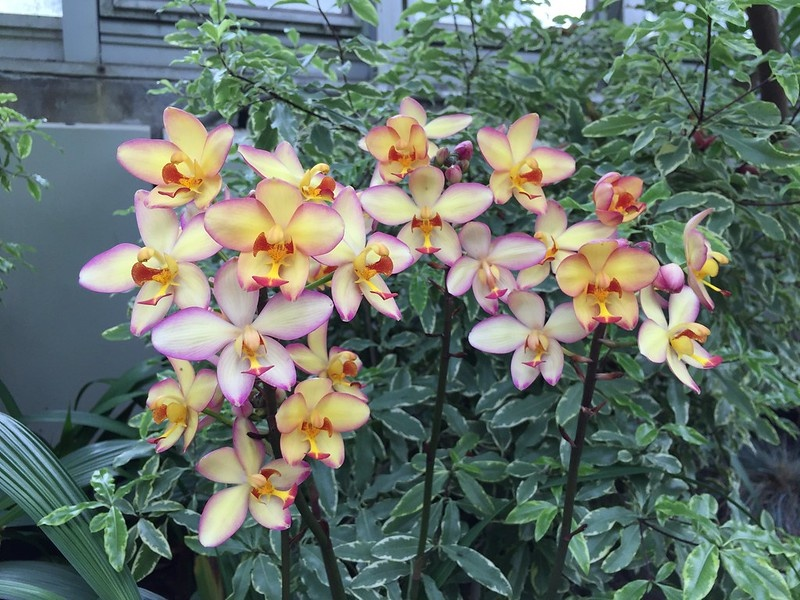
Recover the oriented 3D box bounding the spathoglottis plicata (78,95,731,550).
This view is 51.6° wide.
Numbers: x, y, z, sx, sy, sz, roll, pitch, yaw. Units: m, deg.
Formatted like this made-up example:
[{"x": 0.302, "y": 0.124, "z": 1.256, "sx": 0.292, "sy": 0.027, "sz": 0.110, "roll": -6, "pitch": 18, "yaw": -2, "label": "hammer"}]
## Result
[{"x": -0.036, "y": 0.029, "z": 1.794, "sx": 1.256, "sy": 0.870, "sz": 0.413, "roll": 2, "pitch": 22, "yaw": -11, "label": "spathoglottis plicata"}]
